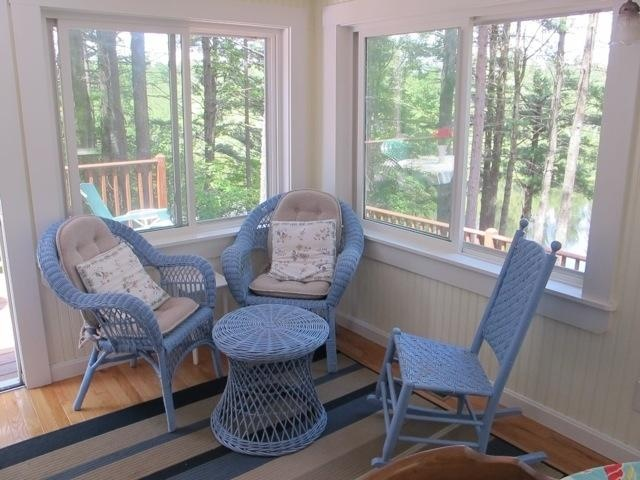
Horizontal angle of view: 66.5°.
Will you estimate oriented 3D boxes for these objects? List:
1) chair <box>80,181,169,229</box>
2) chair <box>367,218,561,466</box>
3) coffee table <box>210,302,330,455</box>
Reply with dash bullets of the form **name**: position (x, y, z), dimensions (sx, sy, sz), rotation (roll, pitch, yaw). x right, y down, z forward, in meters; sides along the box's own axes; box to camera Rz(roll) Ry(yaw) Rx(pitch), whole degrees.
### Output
- **chair**: position (-1.351, -0.224, 3.418), dimensions (0.431, 0.301, 0.243), rotation (-10, 29, -22)
- **chair**: position (0.932, 0.486, 3.234), dimensions (1.295, 1.842, 0.916), rotation (3, 8, -6)
- **coffee table**: position (-0.298, 0.778, 2.869), dimensions (0.650, 0.565, 0.701), rotation (0, 22, -2)
